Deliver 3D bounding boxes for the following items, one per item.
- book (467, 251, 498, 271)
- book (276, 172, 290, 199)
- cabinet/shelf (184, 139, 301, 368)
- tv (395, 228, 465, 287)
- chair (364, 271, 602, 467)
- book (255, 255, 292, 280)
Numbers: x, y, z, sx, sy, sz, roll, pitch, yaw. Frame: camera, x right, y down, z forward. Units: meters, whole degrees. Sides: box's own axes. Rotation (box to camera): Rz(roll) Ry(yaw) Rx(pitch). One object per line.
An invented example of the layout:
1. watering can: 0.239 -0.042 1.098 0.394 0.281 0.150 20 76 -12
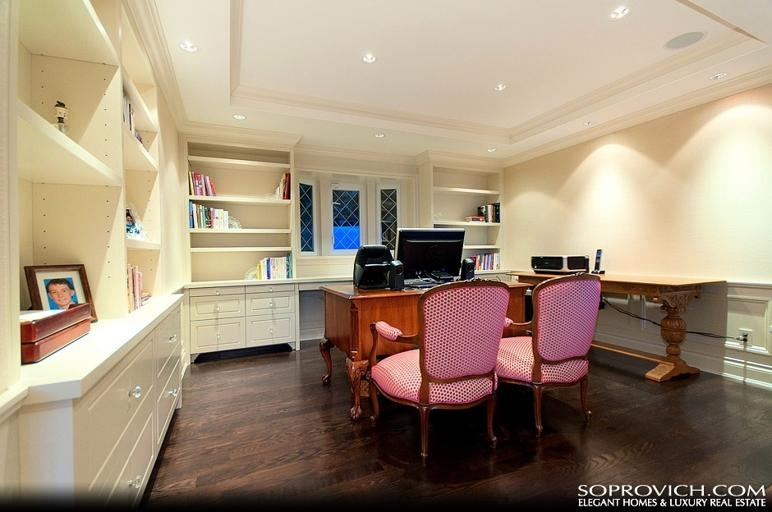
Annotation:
1. book: 1.504 0.077 7.212 0.466 0.256 0.500 -2 12 -2
2. book: -1.253 -0.874 5.953 0.109 0.287 0.229 10 -6 -10
3. cabinet/shelf: -1.709 -0.087 5.765 1.353 2.532 1.151 -5 13 -14
4. tv: 0.391 0.020 4.450 0.551 0.438 0.250 -1 12 -12
5. chair: 0.775 0.743 3.693 1.726 1.261 0.630 -5 13 -19
6. book: -1.379 0.162 5.856 0.515 0.350 0.259 2 -4 -32
